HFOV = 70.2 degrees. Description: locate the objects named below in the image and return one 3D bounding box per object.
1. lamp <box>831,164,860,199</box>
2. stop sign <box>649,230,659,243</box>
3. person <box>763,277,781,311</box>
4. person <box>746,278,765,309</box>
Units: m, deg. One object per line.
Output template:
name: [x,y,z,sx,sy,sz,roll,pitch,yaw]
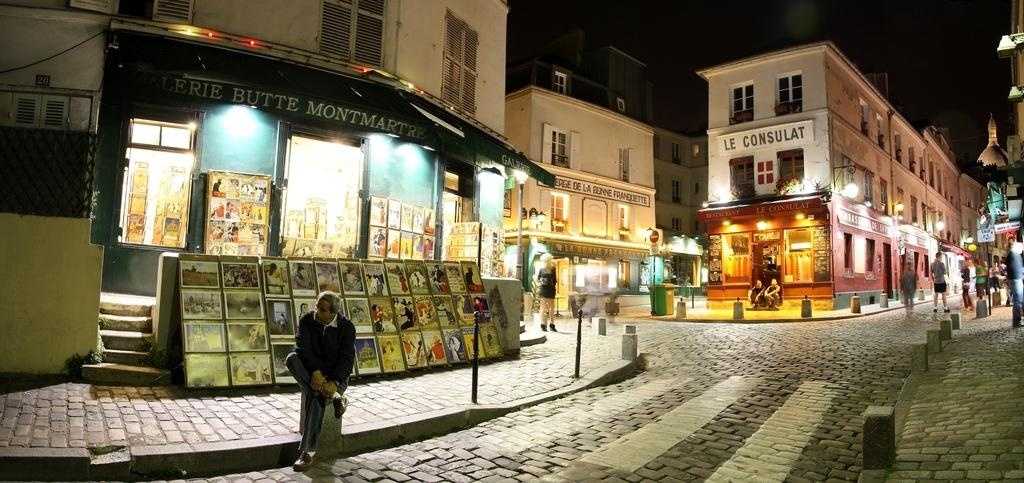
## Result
lamp: [16.766,-3.121,36.592,0.638,1.693,2.266,-8,-9,39]
stop sign: [6.939,-0.191,35.372,0.399,0.680,1.390,-3,-6,10]
person: [12.923,2.673,36.118,1.005,1.445,0.449,4,-10,-41]
person: [12.181,2.667,36.276,0.438,1.291,0.884,2,-8,-29]
